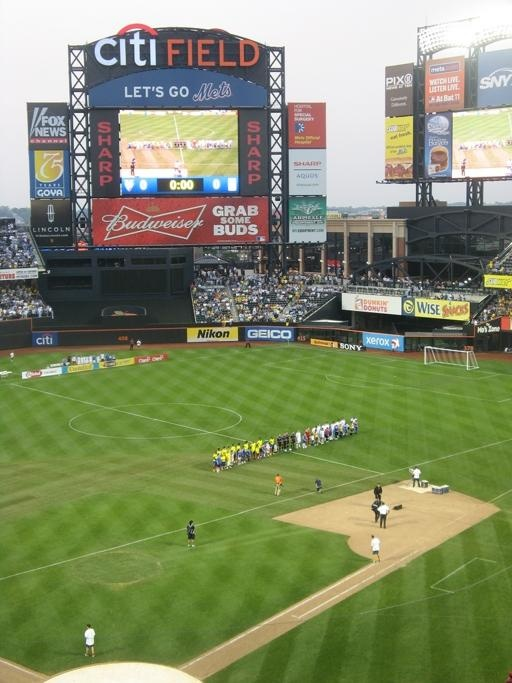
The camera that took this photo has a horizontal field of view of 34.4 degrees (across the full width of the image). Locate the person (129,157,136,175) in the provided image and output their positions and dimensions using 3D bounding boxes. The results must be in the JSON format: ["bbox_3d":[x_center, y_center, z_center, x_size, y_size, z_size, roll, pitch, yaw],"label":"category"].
[{"bbox_3d":[-14.344,-20.342,96.400,0.695,2.062,0.224,-1,10,8],"label":"person"}]
